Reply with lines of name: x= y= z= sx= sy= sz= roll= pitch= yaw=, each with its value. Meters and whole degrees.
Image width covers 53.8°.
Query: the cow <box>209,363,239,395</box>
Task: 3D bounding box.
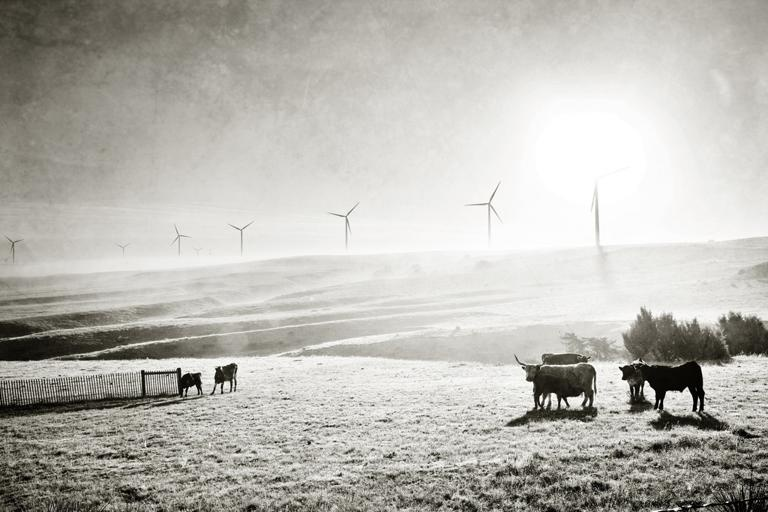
cow: x=-13.716 y=10.308 z=65.002 sx=1.894 sy=2.279 sz=3.133 roll=-2 pitch=3 yaw=-11
